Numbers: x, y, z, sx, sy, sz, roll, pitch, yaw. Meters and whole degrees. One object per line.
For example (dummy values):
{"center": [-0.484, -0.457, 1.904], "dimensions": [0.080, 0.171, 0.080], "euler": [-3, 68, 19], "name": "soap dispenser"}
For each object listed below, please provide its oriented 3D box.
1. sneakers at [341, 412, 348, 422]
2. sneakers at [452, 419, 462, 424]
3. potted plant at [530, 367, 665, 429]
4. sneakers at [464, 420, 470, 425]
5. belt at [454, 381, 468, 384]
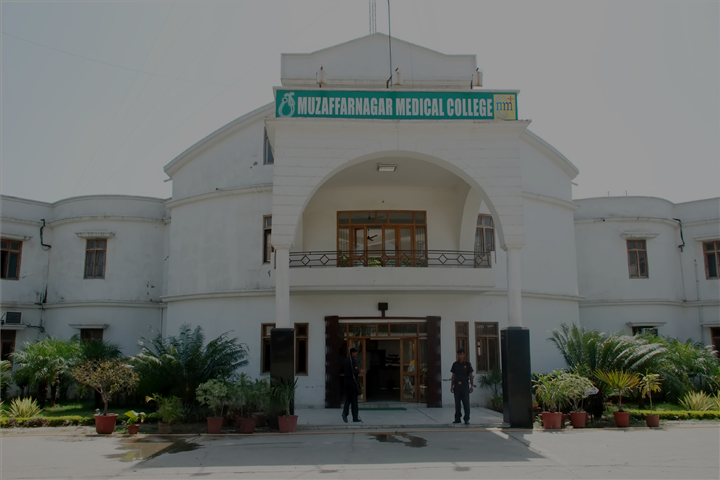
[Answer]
{"center": [-0.491, 5.655, 18.715], "dimensions": [0.189, 0.347, 0.133], "euler": [-4, -14, -23], "name": "sneakers"}
{"center": [3.083, 5.796, 18.645], "dimensions": [0.261, 0.123, 0.263], "euler": [-1, -15, 5], "name": "sneakers"}
{"center": [7.195, 5.060, 19.101], "dimensions": [2.578, 1.333, 2.255], "euler": [6, -15, -22], "name": "potted plant"}
{"center": [3.400, 5.812, 18.578], "dimensions": [0.128, 0.134, 0.073], "euler": [1, -6, 2], "name": "sneakers"}
{"center": [3.265, 4.614, 18.861], "dimensions": [0.452, 0.132, 0.094], "euler": [3, -15, -13], "name": "belt"}
